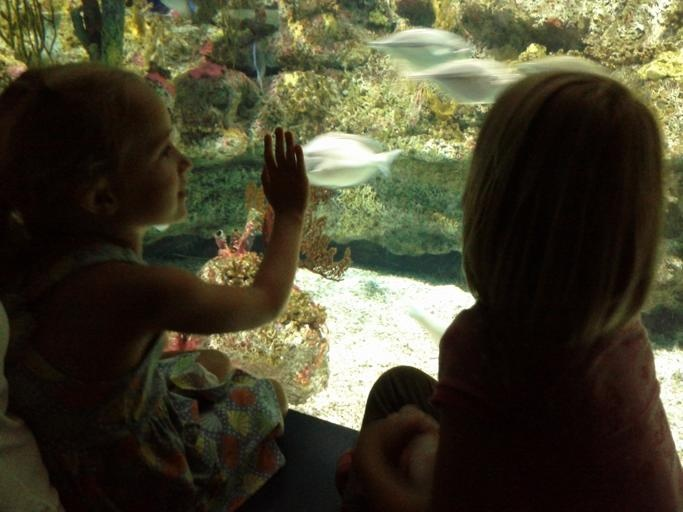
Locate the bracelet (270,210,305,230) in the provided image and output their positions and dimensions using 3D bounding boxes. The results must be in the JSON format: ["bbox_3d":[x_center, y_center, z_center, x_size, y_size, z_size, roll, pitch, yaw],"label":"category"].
[{"bbox_3d":[-0.198,-0.131,2.214,0.072,0.055,0.074,2,3,27],"label":"bracelet"}]

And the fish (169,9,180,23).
[{"bbox_3d":[-2.193,-3.183,8.362,0.110,0.151,0.206,19,33,20],"label":"fish"}]

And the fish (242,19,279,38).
[{"bbox_3d":[-1.073,-3.065,8.484,0.530,0.238,0.133,-22,40,-39],"label":"fish"}]

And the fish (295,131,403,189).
[{"bbox_3d":[0.034,-0.879,5.658,0.935,0.479,0.291,5,-1,19],"label":"fish"}]
